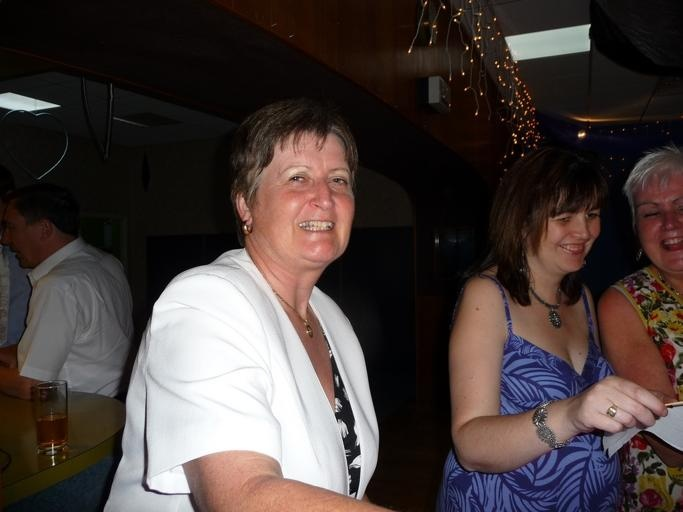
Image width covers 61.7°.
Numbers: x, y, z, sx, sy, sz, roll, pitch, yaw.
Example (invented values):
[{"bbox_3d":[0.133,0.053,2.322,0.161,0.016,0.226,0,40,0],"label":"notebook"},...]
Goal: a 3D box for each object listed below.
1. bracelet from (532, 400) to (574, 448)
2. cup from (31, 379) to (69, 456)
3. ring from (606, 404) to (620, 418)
[{"bbox_3d":[0.690,0.553,1.892,0.050,0.151,0.109,-27,-26,20],"label":"bracelet"},{"bbox_3d":[-1.243,0.688,2.432,0.126,0.285,0.144,0,-2,-31],"label":"cup"},{"bbox_3d":[0.834,0.472,1.748,0.029,0.034,0.033,29,11,3],"label":"ring"}]
